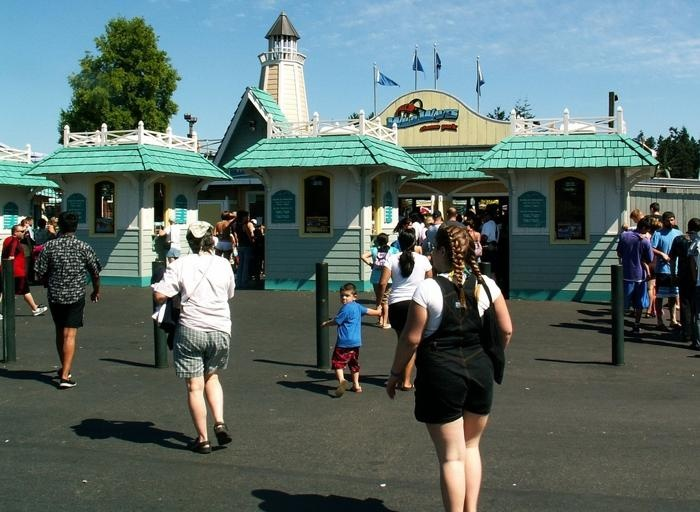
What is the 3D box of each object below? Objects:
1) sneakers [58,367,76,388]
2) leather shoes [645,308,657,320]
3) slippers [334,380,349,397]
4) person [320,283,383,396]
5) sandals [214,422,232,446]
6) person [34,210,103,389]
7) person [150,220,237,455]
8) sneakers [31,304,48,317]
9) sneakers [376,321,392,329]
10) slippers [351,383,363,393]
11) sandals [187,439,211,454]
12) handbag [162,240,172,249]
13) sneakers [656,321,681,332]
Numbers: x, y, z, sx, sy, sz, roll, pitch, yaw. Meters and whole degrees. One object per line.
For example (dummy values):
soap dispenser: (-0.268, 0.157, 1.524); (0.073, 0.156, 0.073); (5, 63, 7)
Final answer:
sneakers: (-3.785, 1.603, 13.448); (0.238, 0.249, 0.394); (1, 3, -17)
leather shoes: (5.619, 1.074, 18.898); (0.122, 0.132, 0.346); (4, 9, 26)
slippers: (-0.111, 1.722, 13.056); (0.111, 0.228, 0.099); (17, 22, -8)
person: (0.003, 1.085, 13.273); (0.638, 1.425, 0.487); (1, 2, -22)
sandals: (-1.438, 1.980, 11.310); (0.137, 0.142, 0.298); (-9, -39, 2)
person: (-3.818, 0.563, 13.556); (0.680, 2.312, 0.688); (3, 2, 20)
person: (-1.755, 0.890, 11.466); (0.821, 2.560, 0.624); (1, 2, -9)
sneakers: (-5.850, 1.012, 18.939); (0.147, 0.174, 0.379); (3, 8, 26)
sneakers: (0.578, 1.213, 17.638); (0.108, 0.140, 0.330); (0, -6, -8)
slippers: (0.075, 1.739, 13.310); (0.113, 0.101, 0.238); (-1, -4, 0)
sandals: (-1.696, 2.121, 11.316); (0.256, 0.149, 0.148); (2, 2, 2)
handbag: (-4.422, -0.273, 24.175); (0.203, 0.252, 0.208); (-1, -2, 14)
sneakers: (5.546, 1.216, 17.541); (0.448, 0.123, 0.163); (-2, 1, -3)
